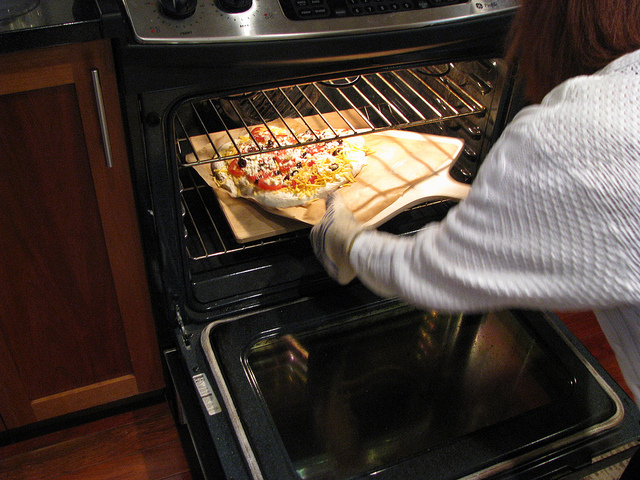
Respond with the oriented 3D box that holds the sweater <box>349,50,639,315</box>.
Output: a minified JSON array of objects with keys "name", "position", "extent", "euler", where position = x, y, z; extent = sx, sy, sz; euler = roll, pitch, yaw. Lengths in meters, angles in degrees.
[{"name":"sweater","position":[0.231,-0.065,0.731],"extent":[0.439,0.181,0.257],"euler":[-16,20,33]}]

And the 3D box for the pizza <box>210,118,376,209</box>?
[{"name":"pizza","position":[-0.019,-0.261,1.370],"extent":[0.462,0.350,0.051],"euler":[-22,66,-44]}]
